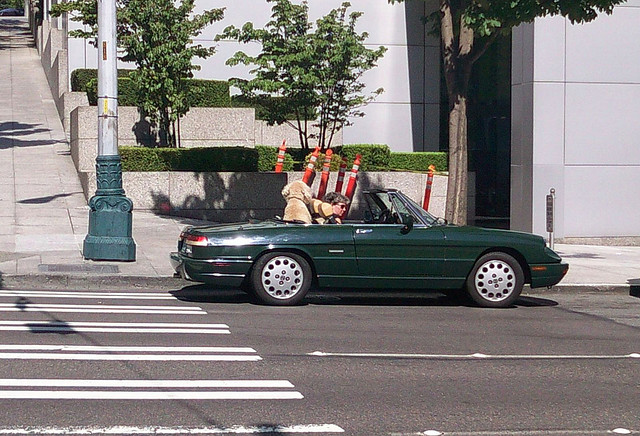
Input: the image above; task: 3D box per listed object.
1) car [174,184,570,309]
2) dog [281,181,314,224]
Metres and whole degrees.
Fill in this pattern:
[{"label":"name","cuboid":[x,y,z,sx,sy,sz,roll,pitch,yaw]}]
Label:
[{"label":"car","cuboid":[1.074,0.711,20.670,6.468,1.832,3.012,-1,0,-6]},{"label":"dog","cuboid":[-0.444,-0.406,20.646,0.430,0.560,0.989,2,31,-1]}]
